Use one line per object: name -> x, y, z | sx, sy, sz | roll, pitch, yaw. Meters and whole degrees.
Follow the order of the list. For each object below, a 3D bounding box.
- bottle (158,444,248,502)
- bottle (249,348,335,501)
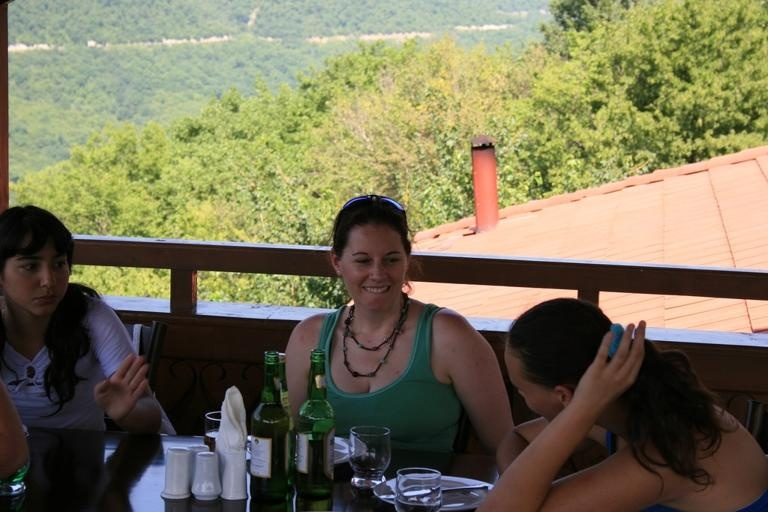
bottle -> -0.643, 0.772, 3.202 | 0.299, 0.137, 0.044 | -1, -1, 0
bottle -> -0.331, 0.602, 3.216 | 0.293, 0.412, 0.121 | -1, -1, -10
